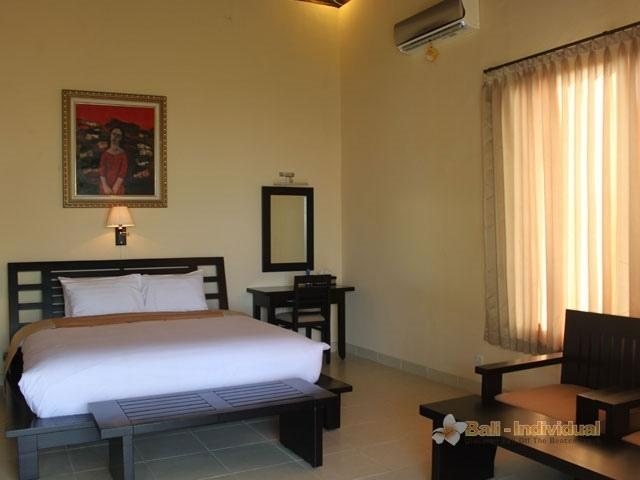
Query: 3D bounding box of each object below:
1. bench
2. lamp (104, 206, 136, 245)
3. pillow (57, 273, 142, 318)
[{"bbox_3d":[-0.726,1.369,3.783,1.655,0.534,0.547,-2,5,-24],"label":"bench"},{"bbox_3d":[-2.227,-0.151,5.915,0.286,0.448,0.293,-2,4,-20],"label":"lamp"},{"bbox_3d":[-2.278,0.577,5.531,0.814,0.373,0.516,-2,5,-21],"label":"pillow"}]
